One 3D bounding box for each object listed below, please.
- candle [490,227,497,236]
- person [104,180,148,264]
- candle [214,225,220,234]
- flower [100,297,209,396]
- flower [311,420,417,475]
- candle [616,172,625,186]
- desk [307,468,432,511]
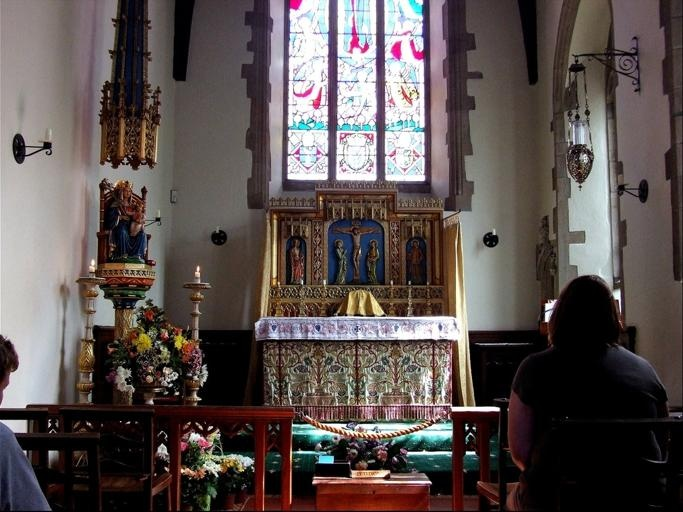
[{"bbox_3d":[2.118,-0.348,13.524,0.082,0.097,0.083,0,-3,34],"label":"candle"},{"bbox_3d":[-2.347,-0.376,10.626,0.472,0.896,0.409,1,-5,-19],"label":"person"},{"bbox_3d":[-1.710,-0.384,13.429,0.079,0.157,0.085,0,-48,-4],"label":"candle"},{"bbox_3d":[-1.836,0.929,9.617,0.922,0.851,0.429,1,-5,-17],"label":"flower"},{"bbox_3d":[0.305,1.724,8.725,0.575,0.275,0.433,8,-2,-26],"label":"flower"},{"bbox_3d":[3.104,-0.870,10.856,0.105,0.189,0.113,1,-2,-12],"label":"candle"},{"bbox_3d":[0.258,2.043,8.379,0.997,0.291,0.360,-1,-5,-2],"label":"desk"}]
